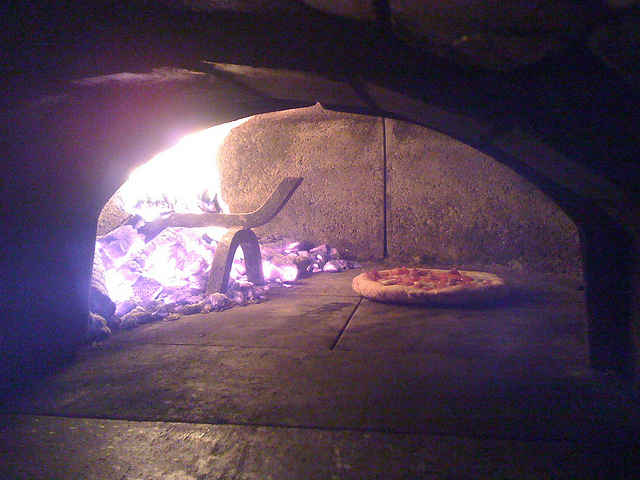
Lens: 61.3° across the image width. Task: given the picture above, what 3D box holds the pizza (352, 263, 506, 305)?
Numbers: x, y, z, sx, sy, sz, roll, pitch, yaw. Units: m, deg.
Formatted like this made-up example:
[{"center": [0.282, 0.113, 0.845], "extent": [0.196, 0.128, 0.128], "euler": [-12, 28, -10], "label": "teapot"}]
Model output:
[{"center": [0.881, 0.325, 4.556], "extent": [1.210, 0.246, 1.046], "euler": [-1, 9, 1], "label": "pizza"}]
